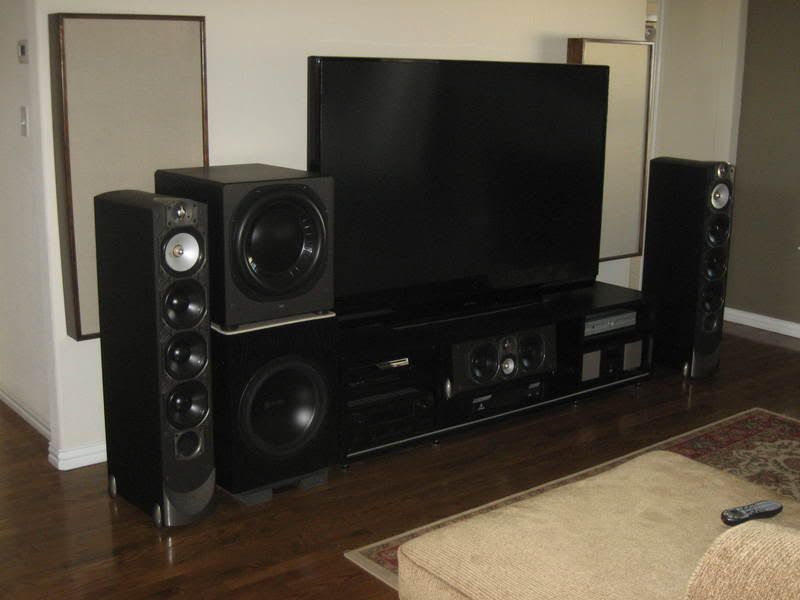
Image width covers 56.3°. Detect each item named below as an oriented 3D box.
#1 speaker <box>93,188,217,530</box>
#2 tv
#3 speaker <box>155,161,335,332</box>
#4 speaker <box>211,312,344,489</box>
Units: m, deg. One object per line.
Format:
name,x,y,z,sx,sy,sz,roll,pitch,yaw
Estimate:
speaker,-0.957,0.212,2.856,0.509,1.209,0.367,11,22,32
tv,0.245,-0.525,3.604,1.379,0.980,0.129,-9,16,-33
speaker,-0.591,-0.281,3.171,0.519,0.642,0.703,-12,21,-36
speaker,-0.503,0.376,2.941,0.545,0.764,0.398,-11,18,-38
